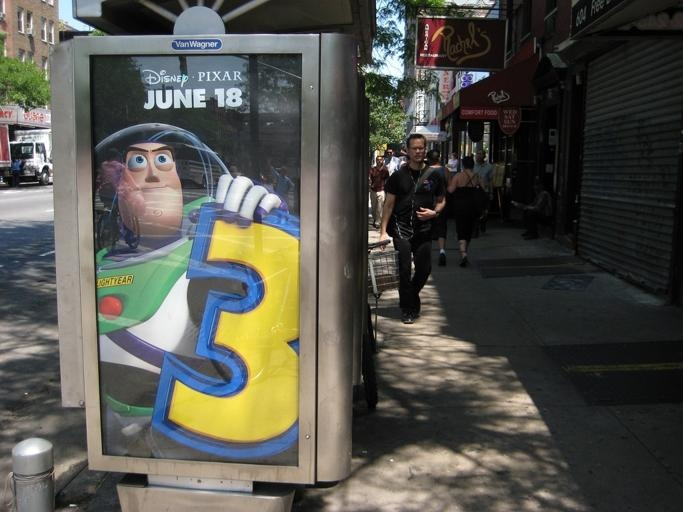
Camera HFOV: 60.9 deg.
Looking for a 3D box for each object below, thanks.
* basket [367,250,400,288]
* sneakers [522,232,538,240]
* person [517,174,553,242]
[{"bbox_3d":[0.512,0.181,6.931,0.315,0.397,0.450,0,-5,-38],"label":"basket"},{"bbox_3d":[4.365,-0.480,13.486,0.346,0.254,0.120,1,21,18],"label":"sneakers"},{"bbox_3d":[4.562,-1.089,13.578,0.713,1.307,1.737,2,11,19],"label":"person"}]
